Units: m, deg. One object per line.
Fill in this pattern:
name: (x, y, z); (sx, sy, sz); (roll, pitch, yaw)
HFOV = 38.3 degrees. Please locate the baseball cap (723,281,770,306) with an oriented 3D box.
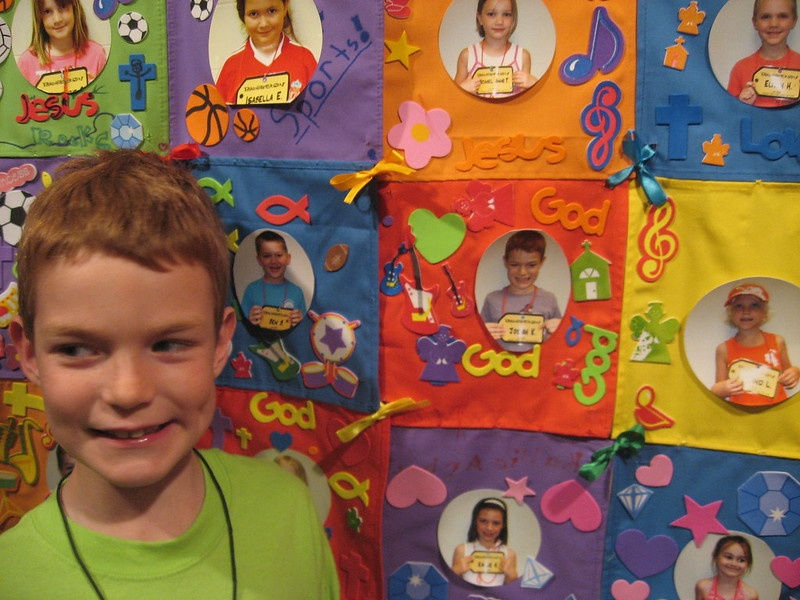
baseball cap: (0.802, -0.018, 2.643); (0.108, 0.052, 0.066); (10, -14, -43)

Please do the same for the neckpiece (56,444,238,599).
neckpiece: (-0.461, 0.474, 2.490); (0.223, 0.375, 0.063); (-13, -17, -30)
